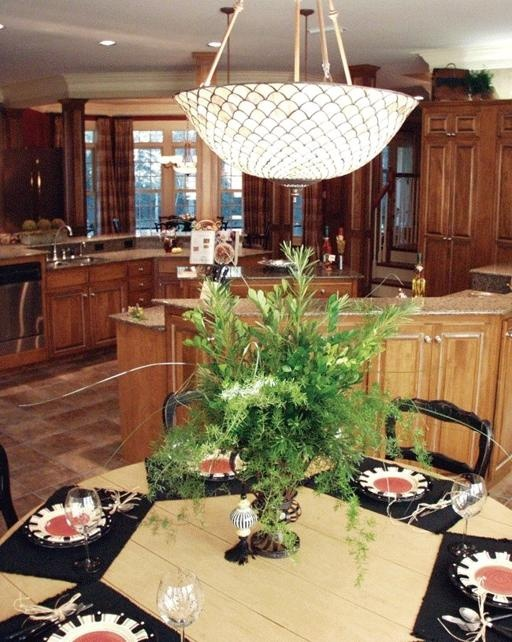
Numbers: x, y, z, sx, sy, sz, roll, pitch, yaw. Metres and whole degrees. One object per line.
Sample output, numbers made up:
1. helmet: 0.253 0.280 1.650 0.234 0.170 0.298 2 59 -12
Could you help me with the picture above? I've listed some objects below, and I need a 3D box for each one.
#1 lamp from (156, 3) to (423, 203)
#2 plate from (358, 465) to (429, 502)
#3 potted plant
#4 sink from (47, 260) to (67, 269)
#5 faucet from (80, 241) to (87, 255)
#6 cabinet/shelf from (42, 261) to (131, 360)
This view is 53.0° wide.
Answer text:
1. lamp: 0.057 -0.386 1.028 0.444 0.170 0.424 4 6 37
2. plate: 0.441 0.519 1.643 0.131 0.016 0.129 5 13 31
3. potted plant: 0.075 0.183 1.332 0.693 0.796 0.807 -1 5 -11
4. sink: -2.342 -0.668 6.035 0.191 0.116 0.535 -2 5 -21
5. faucet: -2.269 -0.961 6.733 0.031 0.175 0.107 2 5 19
6. cabinet/shelf: -1.982 -0.121 5.822 0.597 0.985 1.147 6 11 35
